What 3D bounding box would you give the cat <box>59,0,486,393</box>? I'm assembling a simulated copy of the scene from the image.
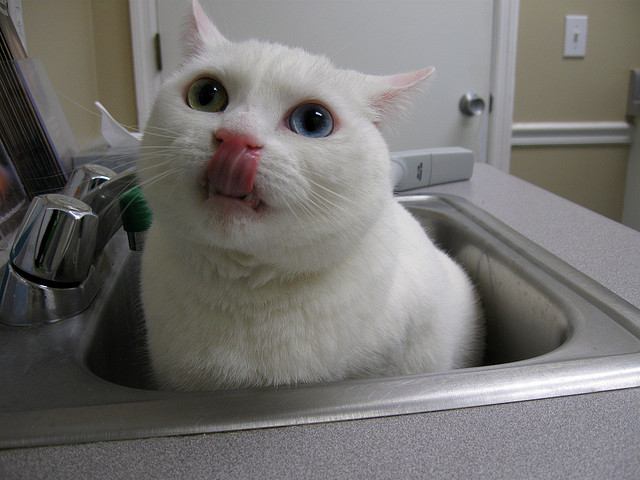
[{"bbox_3d":[-0.012,0.018,0.756,0.343,0.504,0.604,-4,-22,12],"label":"cat"}]
